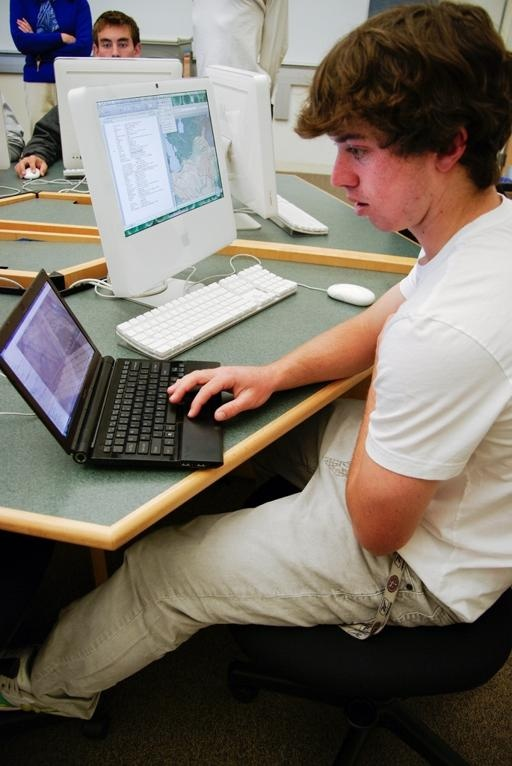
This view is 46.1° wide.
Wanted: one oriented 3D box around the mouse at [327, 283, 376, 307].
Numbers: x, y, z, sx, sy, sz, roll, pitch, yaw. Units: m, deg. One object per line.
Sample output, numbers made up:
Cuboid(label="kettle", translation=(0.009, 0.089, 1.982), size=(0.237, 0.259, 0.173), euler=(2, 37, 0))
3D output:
Cuboid(label="mouse", translation=(0.201, -0.189, 1.296), size=(0.084, 0.026, 0.053), euler=(20, 38, 24))
